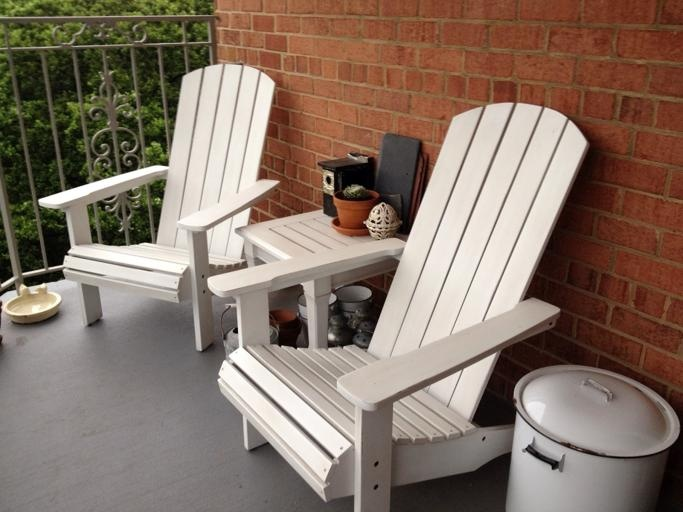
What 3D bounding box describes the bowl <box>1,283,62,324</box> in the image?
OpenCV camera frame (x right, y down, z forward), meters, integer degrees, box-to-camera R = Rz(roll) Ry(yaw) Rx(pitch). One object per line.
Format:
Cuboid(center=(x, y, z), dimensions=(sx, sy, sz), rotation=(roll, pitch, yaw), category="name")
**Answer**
Cuboid(center=(-1.590, 0.253, 2.810), dimensions=(0.333, 0.176, 0.317), rotation=(10, 19, -3), category="bowl")
